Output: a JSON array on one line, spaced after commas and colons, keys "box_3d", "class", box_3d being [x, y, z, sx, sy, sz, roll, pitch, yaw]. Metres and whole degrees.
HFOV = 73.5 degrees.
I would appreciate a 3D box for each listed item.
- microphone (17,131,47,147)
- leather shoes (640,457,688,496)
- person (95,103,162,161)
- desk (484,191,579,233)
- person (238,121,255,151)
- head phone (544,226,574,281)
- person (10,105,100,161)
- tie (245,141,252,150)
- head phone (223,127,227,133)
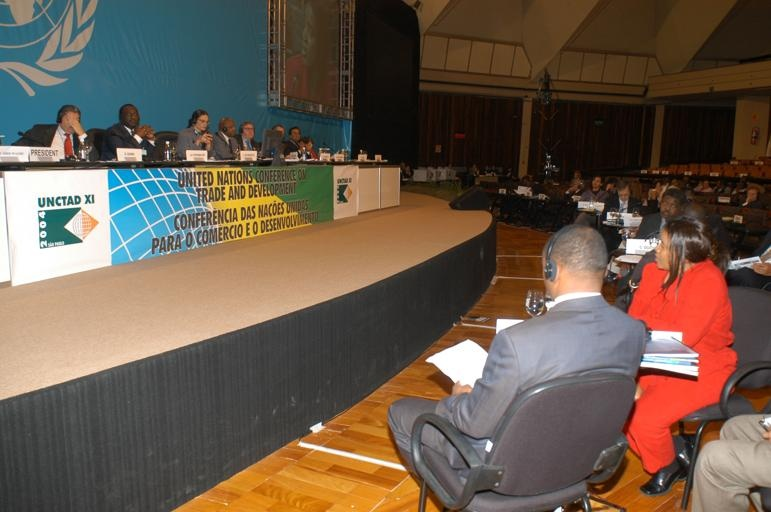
[{"box_3d": [-3.829, -1.274, 5.550, 0.246, 0.157, 0.529, -8, 15, -32], "class": "microphone"}, {"box_3d": [1.700, 1.339, 3.117, 0.323, 0.131, 0.108, -28, 14, -13], "class": "leather shoes"}, {"box_3d": [-3.226, -1.290, 6.407, 0.575, 1.148, 0.540, 7, 17, -10], "class": "person"}, {"box_3d": [3.560, -1.037, 12.572, 2.240, 0.728, 0.658, 2, 4, -20], "class": "desk"}, {"box_3d": [-2.015, -1.758, 7.543, 0.224, 0.398, 0.773, -3, 13, -14], "class": "person"}, {"box_3d": [0.797, 0.011, 2.440, 0.081, 0.213, 0.232, 0, -3, 30], "class": "head phone"}, {"box_3d": [-3.489, -1.337, 5.517, 0.956, 0.573, 0.619, 10, 16, 35], "class": "person"}, {"box_3d": [-2.047, -1.653, 7.727, 0.032, 0.117, 0.123, -11, 12, 19], "class": "tie"}, {"box_3d": [-2.149, -1.683, 6.908, 0.057, 0.078, 0.089, -10, 16, -37], "class": "head phone"}]
